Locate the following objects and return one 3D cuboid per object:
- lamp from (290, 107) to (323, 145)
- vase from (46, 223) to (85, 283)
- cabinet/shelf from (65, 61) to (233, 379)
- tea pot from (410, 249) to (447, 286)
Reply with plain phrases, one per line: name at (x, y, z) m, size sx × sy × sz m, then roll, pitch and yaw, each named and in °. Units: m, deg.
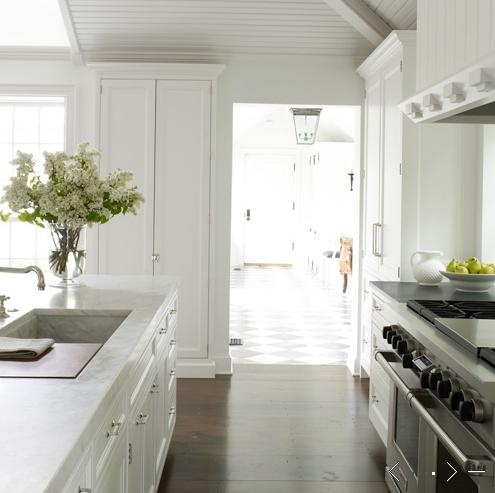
lamp at (0.714, -1.539, 5.908) m, size 0.491 × 0.425 × 0.444 m, roll 0°, pitch 5°, yaw 2°
vase at (-0.934, 0.044, 2.402) m, size 0.202 × 0.313 × 0.193 m, roll 0°, pitch -2°, yaw -3°
cabinet/shelf at (-0.597, -0.240, 4.009) m, size 1.238 × 2.560 × 0.662 m, roll 7°, pitch 12°, yaw 29°
tea pot at (1.000, 0.129, 2.590) m, size 0.156 × 0.195 × 0.143 m, roll 1°, pitch 5°, yaw 0°
